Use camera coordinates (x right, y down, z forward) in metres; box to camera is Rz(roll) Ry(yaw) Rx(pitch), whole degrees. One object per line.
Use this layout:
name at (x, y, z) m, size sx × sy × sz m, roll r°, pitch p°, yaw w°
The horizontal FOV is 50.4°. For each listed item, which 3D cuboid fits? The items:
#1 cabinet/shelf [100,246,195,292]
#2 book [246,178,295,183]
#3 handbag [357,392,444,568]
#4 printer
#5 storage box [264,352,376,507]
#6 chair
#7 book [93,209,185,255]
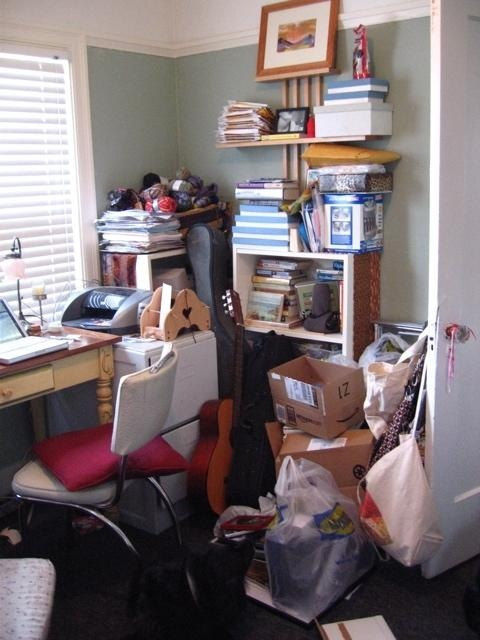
cabinet/shelf at (-0.462, -0.247, 2.613) m, size 0.434 × 0.286 × 0.256 m, roll 2°, pitch 2°, yaw -2°
book at (0.154, -0.669, 2.452) m, size 0.100 × 0.021 × 0.100 m, roll -10°, pitch 16°, yaw -32°
handbag at (0.486, 0.547, 1.572) m, size 0.227 × 0.380 × 0.104 m, roll 4°, pitch 9°, yaw 38°
printer at (-0.586, -0.053, 2.181) m, size 0.259 × 0.111 × 0.242 m, roll 9°, pitch 21°, yaw 24°
storage box at (0.289, 0.421, 1.868) m, size 0.391 × 0.542 × 0.294 m, roll 11°, pitch 27°, yaw 34°
chair at (-0.460, 0.484, 1.684) m, size 0.531 × 0.745 × 0.501 m, roll 9°, pitch 11°, yaw 30°
book at (-0.473, -0.427, 2.458) m, size 0.283 × 0.131 × 0.290 m, roll 10°, pitch 16°, yaw 37°
